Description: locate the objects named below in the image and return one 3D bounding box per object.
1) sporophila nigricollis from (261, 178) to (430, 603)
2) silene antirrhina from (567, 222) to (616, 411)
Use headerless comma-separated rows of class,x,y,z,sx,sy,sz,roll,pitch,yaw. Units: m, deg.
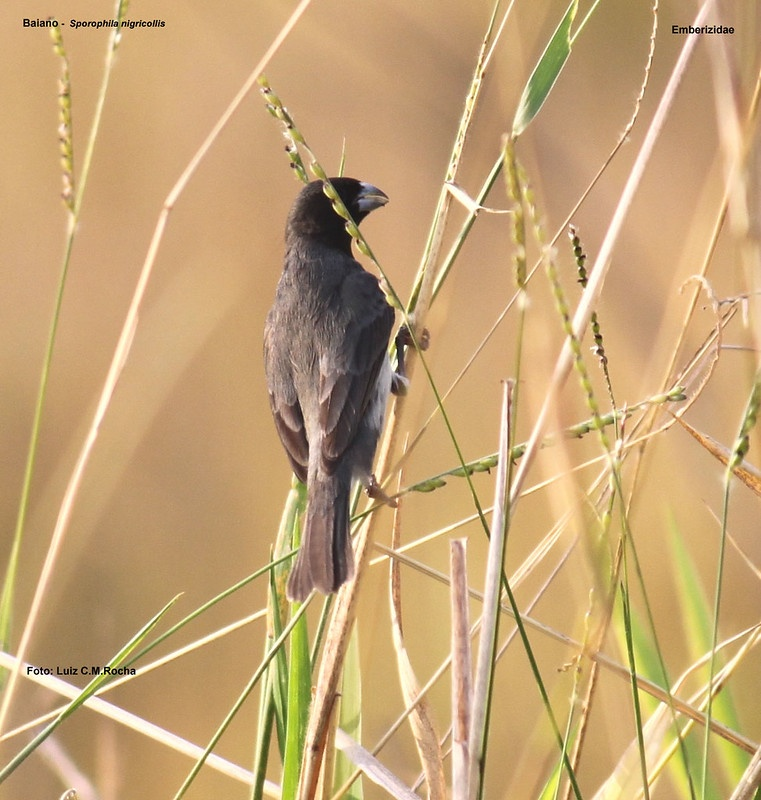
sporophila nigricollis,-0.209,-0.150,4.061,0.711,1.318,1.584,-6,-67,-7
silene antirrhina,0.716,-0.270,3.457,0.182,0.218,0.890,7,-65,23
